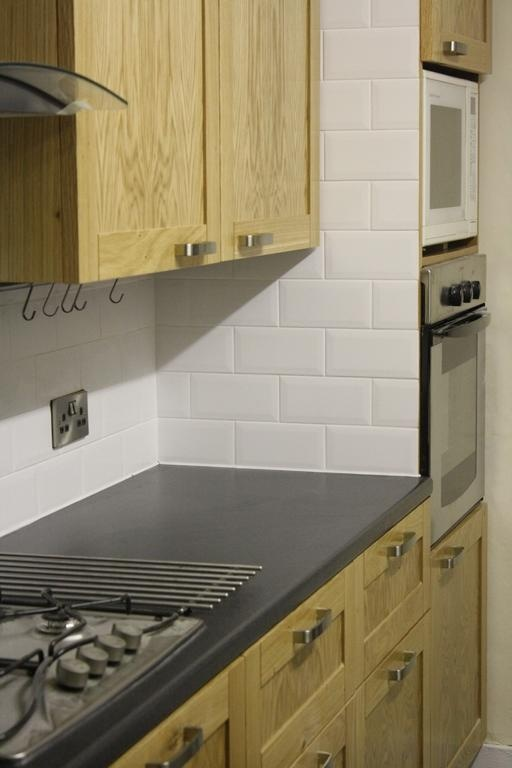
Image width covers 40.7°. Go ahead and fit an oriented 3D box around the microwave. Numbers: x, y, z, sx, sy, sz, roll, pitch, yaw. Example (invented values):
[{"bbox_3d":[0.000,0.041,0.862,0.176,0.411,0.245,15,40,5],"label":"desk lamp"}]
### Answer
[{"bbox_3d":[0.488,-0.612,1.926,0.154,0.450,0.389,8,17,41],"label":"microwave"}]
